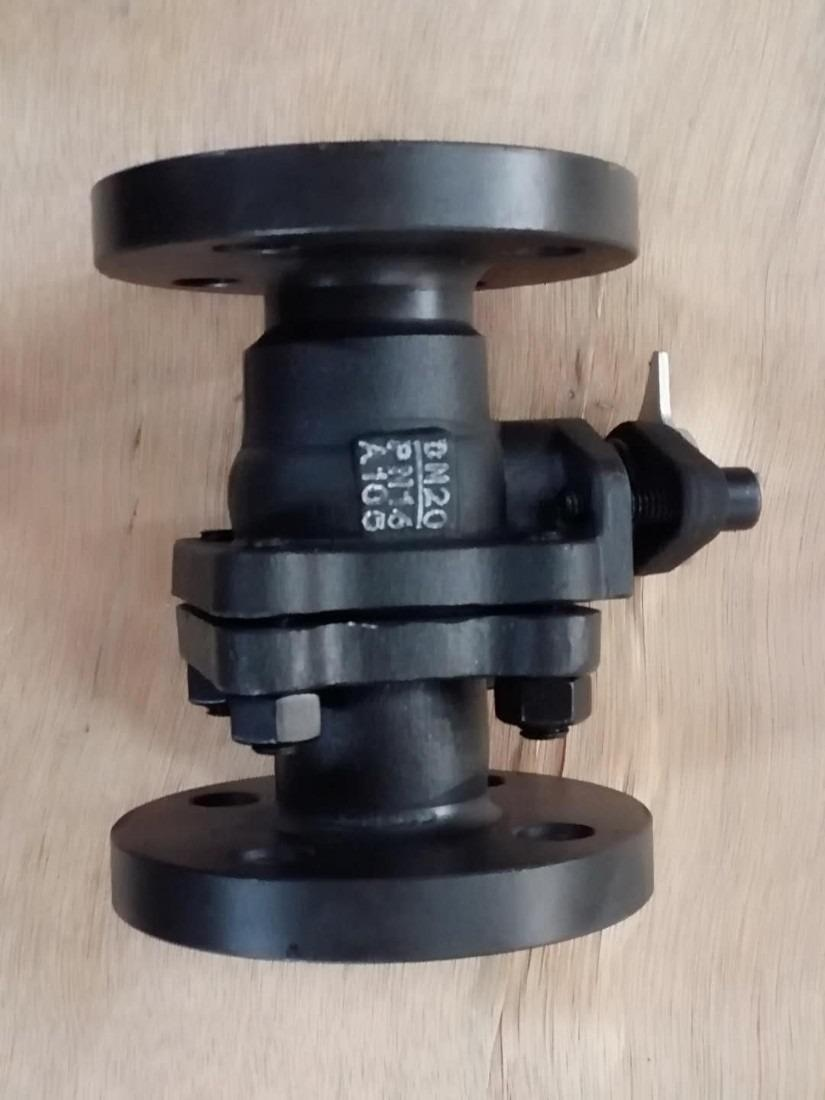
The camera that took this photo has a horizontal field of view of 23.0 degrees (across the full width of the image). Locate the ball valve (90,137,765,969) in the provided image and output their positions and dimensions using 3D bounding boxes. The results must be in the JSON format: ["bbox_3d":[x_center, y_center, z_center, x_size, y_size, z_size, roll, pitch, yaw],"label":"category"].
[{"bbox_3d":[0.016,-0.011,1.170,0.357,0.430,0.290,0,7,0],"label":"ball valve"}]
